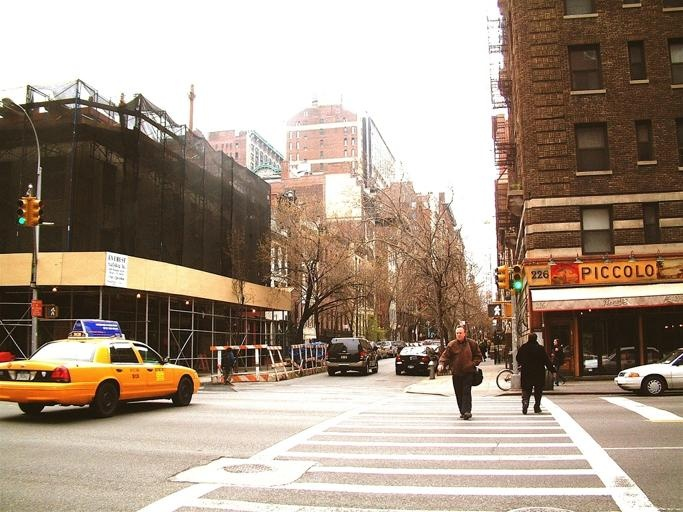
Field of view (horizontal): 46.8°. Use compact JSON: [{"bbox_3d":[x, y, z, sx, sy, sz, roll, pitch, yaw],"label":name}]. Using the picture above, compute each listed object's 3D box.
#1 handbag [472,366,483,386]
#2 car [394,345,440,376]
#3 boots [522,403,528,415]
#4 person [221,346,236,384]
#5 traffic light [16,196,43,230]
[{"bbox_3d":[3.638,3.428,21.214,0.287,0.817,0.579,0,8,12],"label":"handbag"},{"bbox_3d":[4.034,5.675,42.481,2.255,1.688,4.333,-4,-9,6],"label":"car"},{"bbox_3d":[4.975,4.173,21.426,0.108,0.322,0.123,-2,1,9],"label":"boots"},{"bbox_3d":[-4.915,4.801,34.130,0.492,1.591,1.336,-1,-8,-11],"label":"person"},{"bbox_3d":[-11.560,-1.650,28.670,0.965,1.188,1.018,-3,-6,24],"label":"traffic light"}]
